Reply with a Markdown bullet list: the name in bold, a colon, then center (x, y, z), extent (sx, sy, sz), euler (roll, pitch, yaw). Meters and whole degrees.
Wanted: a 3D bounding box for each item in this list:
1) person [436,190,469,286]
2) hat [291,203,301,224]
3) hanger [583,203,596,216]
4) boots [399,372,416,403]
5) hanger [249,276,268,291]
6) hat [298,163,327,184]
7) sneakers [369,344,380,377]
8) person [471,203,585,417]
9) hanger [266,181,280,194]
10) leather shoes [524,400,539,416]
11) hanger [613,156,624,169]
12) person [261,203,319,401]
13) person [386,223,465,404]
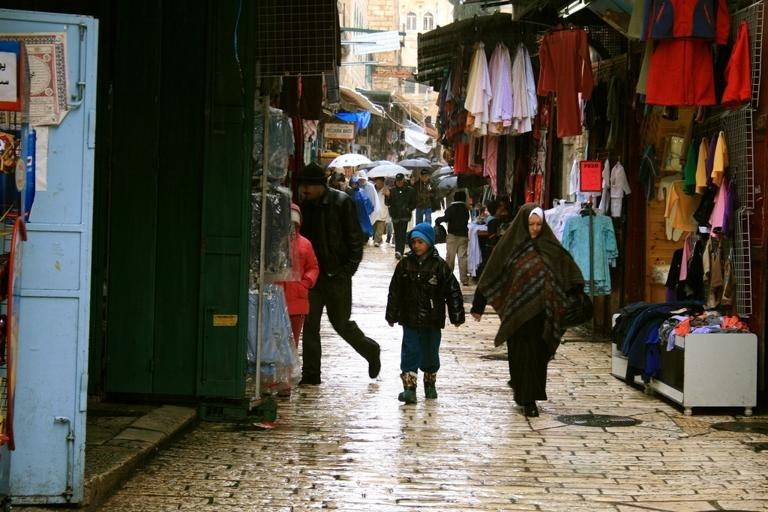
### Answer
- **person**: center (1.475, -0.474, 17.933), extent (0.664, 1.887, 0.602), euler (1, 25, 5)
- **hat**: center (-0.910, -0.415, 8.928), extent (0.124, 0.165, 0.178), euler (3, -4, -16)
- **hanger**: center (2.835, -0.630, 11.974), extent (0.191, 0.207, 0.150), euler (-1, 9, 6)
- **boots**: center (0.233, 1.347, 8.884), extent (0.193, 0.315, 0.211), euler (1, 6, 4)
- **hanger**: center (-1.220, 0.265, 8.150), extent (0.109, 0.141, 0.047), euler (5, 7, 34)
- **hat**: center (-0.796, -0.890, 9.480), extent (0.252, 0.199, 0.198), euler (-3, 4, -5)
- **sneakers**: center (-0.102, 1.195, 9.700), extent (0.139, 0.365, 0.123), euler (-2, 11, -17)
- **person**: center (1.486, 0.512, 8.902), extent (1.006, 2.036, 0.877), euler (6, 8, 42)
- **hanger**: center (-1.105, -0.672, 8.527), extent (0.113, 0.128, 0.215), euler (11, 0, -19)
- **leather shoes**: center (1.456, 1.500, 8.557), extent (0.150, 0.133, 0.185), euler (2, 6, 7)
- **hanger**: center (3.296, -1.300, 12.066), extent (0.086, 0.203, 0.119), euler (4, 26, 7)
- **person**: center (-0.887, 0.210, 8.910), extent (0.324, 1.456, 0.884), euler (1, 6, 2)
- **person**: center (0.419, 0.586, 8.986), extent (0.787, 1.808, 0.538), euler (1, 6, 1)
